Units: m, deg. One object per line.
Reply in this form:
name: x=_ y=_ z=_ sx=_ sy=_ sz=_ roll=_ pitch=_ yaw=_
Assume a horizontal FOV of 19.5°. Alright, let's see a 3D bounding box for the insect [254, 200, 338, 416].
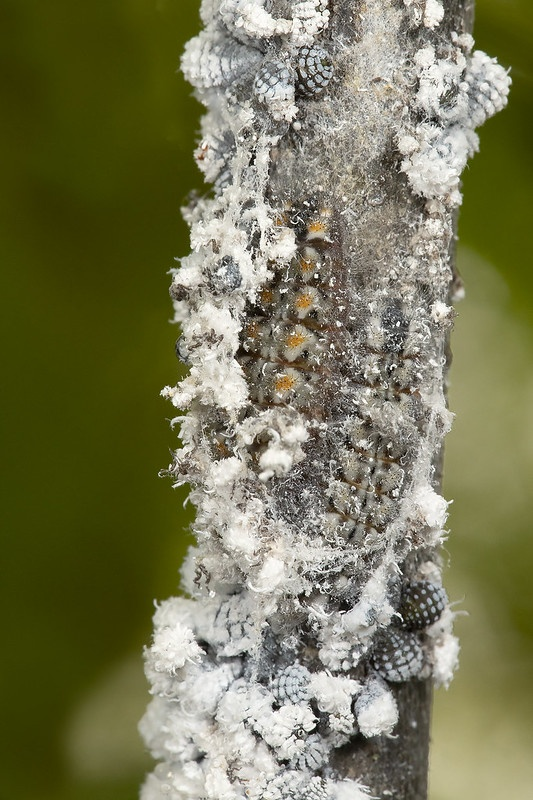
insect: x=0.083 y=-0.201 z=3.954 sx=0.160 sy=0.574 sz=0.169 roll=16 pitch=9 yaw=31
